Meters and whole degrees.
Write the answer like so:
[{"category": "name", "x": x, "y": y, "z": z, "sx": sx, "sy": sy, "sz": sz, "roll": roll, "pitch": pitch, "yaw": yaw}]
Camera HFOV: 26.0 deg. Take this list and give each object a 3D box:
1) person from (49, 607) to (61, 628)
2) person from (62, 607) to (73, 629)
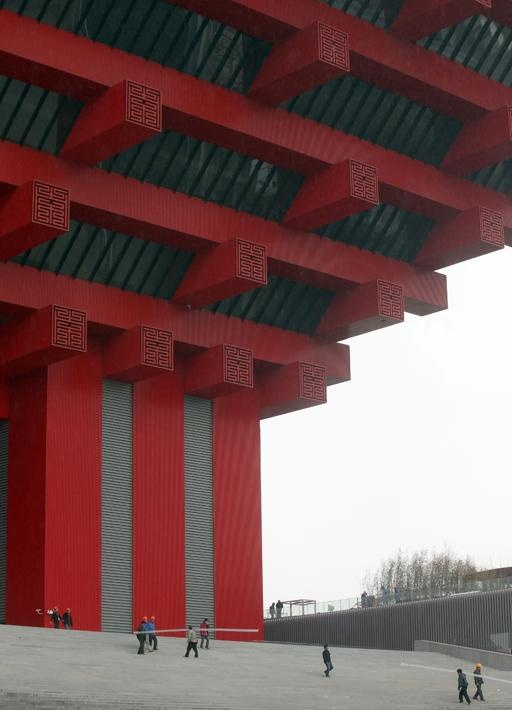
[{"category": "person", "x": -4.421, "y": 5.737, "z": 24.339, "sx": 0.261, "sy": 0.433, "sz": 0.988, "roll": 6, "pitch": -7, "yaw": -9}, {"category": "person", "x": -4.170, "y": 5.812, "z": 24.539, "sx": 0.258, "sy": 0.417, "sz": 0.958, "roll": 6, "pitch": -7, "yaw": -8}]
